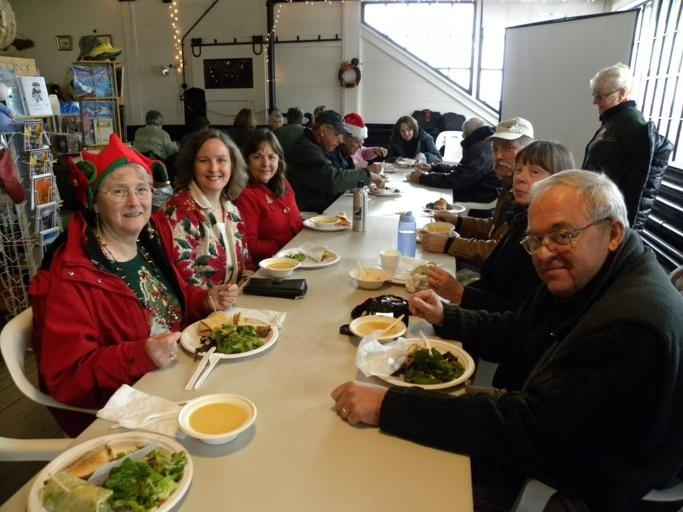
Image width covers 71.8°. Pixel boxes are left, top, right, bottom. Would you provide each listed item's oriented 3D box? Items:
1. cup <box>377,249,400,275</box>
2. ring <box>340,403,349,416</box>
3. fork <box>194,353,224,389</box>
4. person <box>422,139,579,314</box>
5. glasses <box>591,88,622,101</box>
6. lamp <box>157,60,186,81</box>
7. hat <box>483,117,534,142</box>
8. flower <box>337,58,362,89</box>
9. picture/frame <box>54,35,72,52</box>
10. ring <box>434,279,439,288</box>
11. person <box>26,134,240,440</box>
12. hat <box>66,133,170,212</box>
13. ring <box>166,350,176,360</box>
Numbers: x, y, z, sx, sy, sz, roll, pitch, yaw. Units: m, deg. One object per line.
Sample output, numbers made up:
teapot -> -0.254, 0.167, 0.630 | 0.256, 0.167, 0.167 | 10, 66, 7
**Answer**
cup -> 0.238, 0.039, 2.414 | 0.103, 0.120, 0.105 | 1, 2, 0
ring -> 0.007, 0.465, 1.422 | 0.024, 0.010, 0.032 | -1, 31, 5
fork -> -0.458, 0.390, 1.608 | 0.029, 0.016, 0.142 | 21, 28, -2
person -> 0.741, -0.227, 2.634 | 0.916, 1.156, 0.738 | 4, 10, 14
glasses -> 2.255, -1.381, 4.039 | 0.225, 0.089, 0.129 | 18, 28, 38
lamp -> -3.550, -3.875, 9.858 | 0.383, 0.494, 0.261 | -12, 38, -18
hat -> 1.306, -0.921, 3.595 | 0.326, 0.154, 0.225 | -7, 11, -32
flower -> 0.156, -3.501, 9.049 | 0.398, 0.510, 0.148 | 7, 28, 20
picture/frame -> -6.008, -4.609, 10.171 | 0.330, 0.340, 0.043 | 6, 31, -1
ring -> 0.430, 0.126, 2.158 | 0.032, 0.020, 0.017 | 10, 37, -22
person -> -0.916, 0.216, 2.088 | 0.676, 1.352, 0.892 | 5, 16, 6
hat -> -0.983, -0.390, 2.076 | 0.376, 0.276, 0.474 | 3, 27, -10
ring -> -0.603, 0.353, 1.662 | 0.028, 0.026, 0.020 | 1, -1, 40
